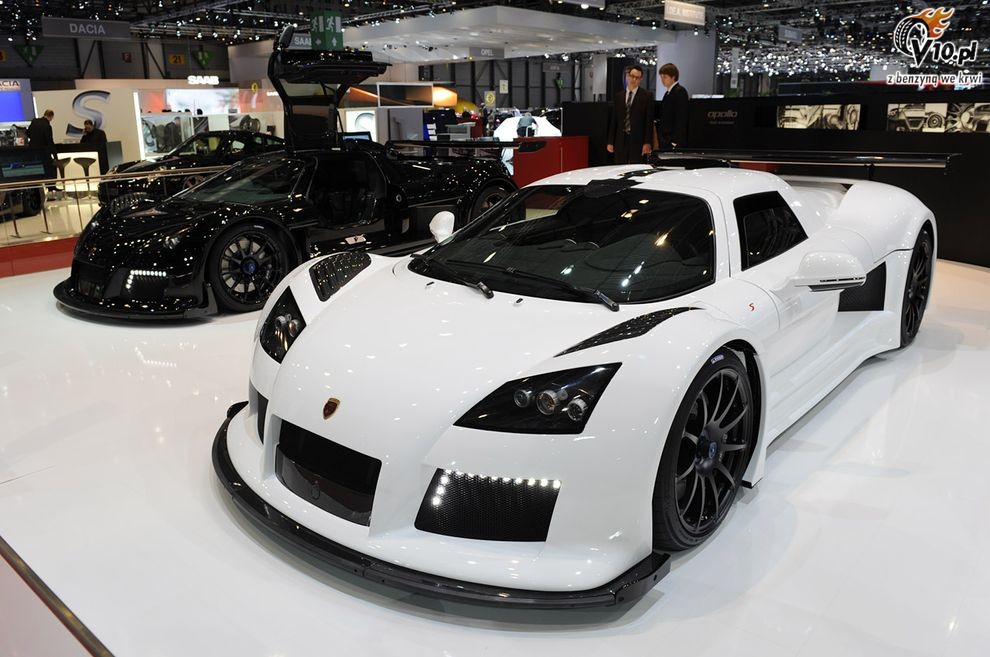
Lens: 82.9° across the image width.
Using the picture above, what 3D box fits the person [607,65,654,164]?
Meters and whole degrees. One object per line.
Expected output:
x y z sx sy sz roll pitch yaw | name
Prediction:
1.848 -2.923 7.582 0.585 1.297 0.905 1 17 11 | person

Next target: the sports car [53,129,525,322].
-1.853 -0.902 5.948 4.019 1.220 2.189 -16 21 -41 | sports car

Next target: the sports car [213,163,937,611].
0.733 0.025 2.799 1.941 0.911 3.207 17 25 40 | sports car
